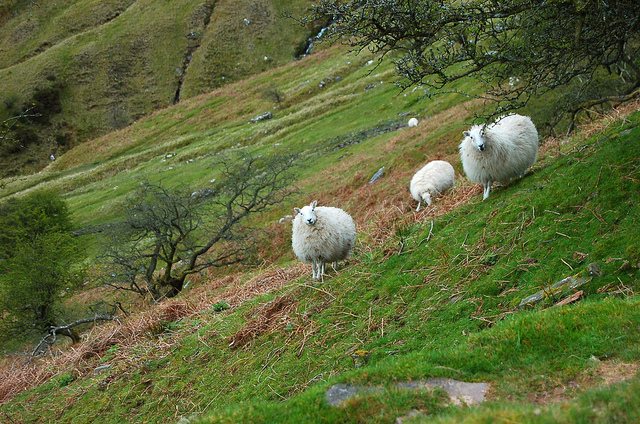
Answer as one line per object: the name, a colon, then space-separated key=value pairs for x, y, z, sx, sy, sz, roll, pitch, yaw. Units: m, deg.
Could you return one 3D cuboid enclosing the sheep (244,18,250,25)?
sheep: x=-25.974 y=-68.184 z=299.770 sx=1.275 sy=1.578 sz=5.054 roll=6 pitch=20 yaw=-10
